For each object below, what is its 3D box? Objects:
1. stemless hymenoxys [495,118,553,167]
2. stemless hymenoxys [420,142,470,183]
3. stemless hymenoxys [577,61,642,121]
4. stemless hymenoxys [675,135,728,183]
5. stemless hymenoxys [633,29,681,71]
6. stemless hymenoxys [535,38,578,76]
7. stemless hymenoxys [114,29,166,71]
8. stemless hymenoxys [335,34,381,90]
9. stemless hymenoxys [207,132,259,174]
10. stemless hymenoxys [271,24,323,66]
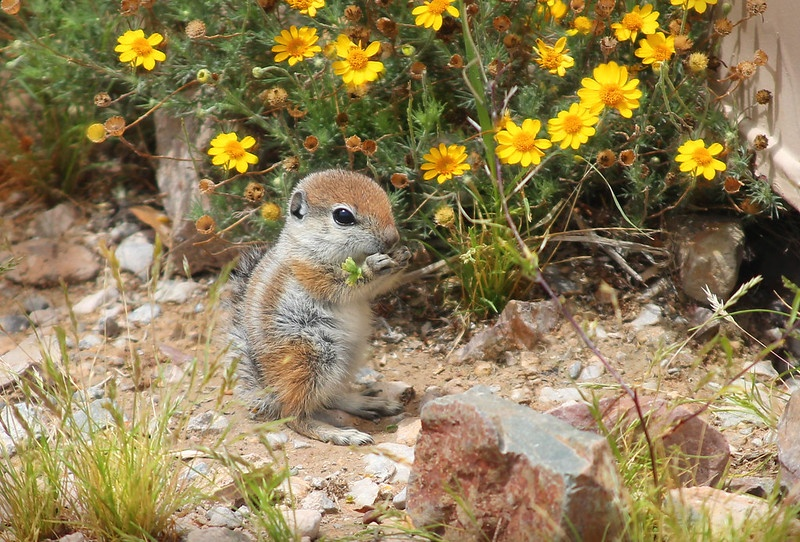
[{"bbox_3d":[0.822,-0.869,4.910,0.308,0.078,0.326,-13,37,-32],"label":"stemless hymenoxys"},{"bbox_3d":[0.305,-0.783,5.105,0.302,0.102,0.296,-3,-25,-17],"label":"stemless hymenoxys"},{"bbox_3d":[1.391,-1.211,4.855,0.396,0.338,0.225,19,18,7],"label":"stemless hymenoxys"},{"bbox_3d":[2.008,-0.755,4.896,0.314,0.254,0.217,23,19,18],"label":"stemless hymenoxys"},{"bbox_3d":[1.759,-1.536,5.022,0.232,0.259,0.481,15,19,-7],"label":"stemless hymenoxys"},{"bbox_3d":[1.089,-1.553,5.221,0.289,0.261,0.373,18,18,4],"label":"stemless hymenoxys"},{"bbox_3d":[-1.843,-1.616,5.214,0.316,0.095,0.295,-19,-13,32],"label":"stemless hymenoxys"},{"bbox_3d":[-0.317,-1.469,5.050,0.406,0.308,0.190,29,22,33],"label":"stemless hymenoxys"},{"bbox_3d":[-1.138,-0.838,5.187,0.343,0.343,0.095,29,-12,26],"label":"stemless hymenoxys"},{"bbox_3d":[-0.734,-1.626,5.185,0.325,0.108,0.343,-18,-18,33],"label":"stemless hymenoxys"}]
